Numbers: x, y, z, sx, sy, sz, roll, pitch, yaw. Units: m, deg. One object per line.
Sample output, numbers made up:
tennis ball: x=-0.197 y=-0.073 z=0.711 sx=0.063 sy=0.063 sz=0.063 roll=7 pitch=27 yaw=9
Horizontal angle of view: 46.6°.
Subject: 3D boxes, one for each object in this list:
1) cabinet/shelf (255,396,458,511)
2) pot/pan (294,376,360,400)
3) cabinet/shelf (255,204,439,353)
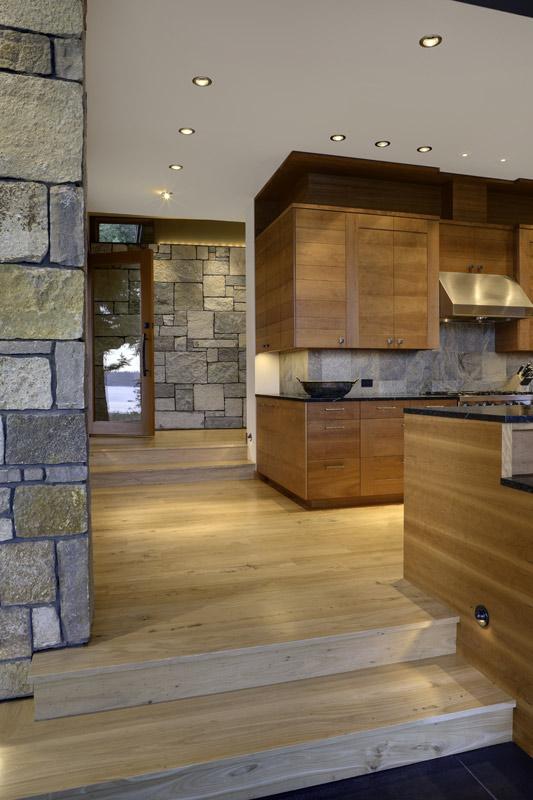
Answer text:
cabinet/shelf: x=0.373 y=0.320 z=4.244 sx=0.861 sy=0.496 sz=0.860 roll=-1 pitch=1 yaw=-19
pot/pan: x=0.383 y=-0.065 z=3.934 sx=0.309 sy=0.103 sz=0.426 roll=0 pitch=6 yaw=3
cabinet/shelf: x=0.524 y=-0.837 z=4.637 sx=1.124 sy=0.828 sz=1.150 roll=-3 pitch=6 yaw=-19
